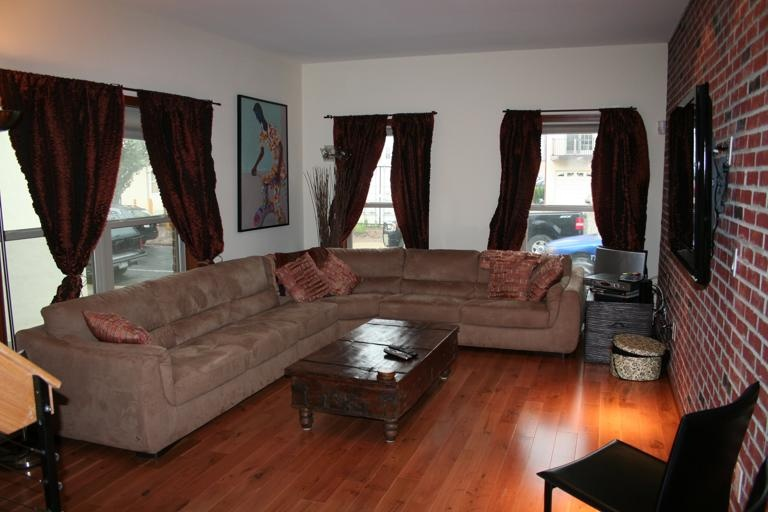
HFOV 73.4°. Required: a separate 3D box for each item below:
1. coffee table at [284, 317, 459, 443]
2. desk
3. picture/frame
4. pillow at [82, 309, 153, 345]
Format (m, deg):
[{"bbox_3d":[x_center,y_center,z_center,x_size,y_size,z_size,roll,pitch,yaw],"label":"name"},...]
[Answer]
[{"bbox_3d":[-0.056,1.006,4.430,0.885,0.556,1.398,6,14,26],"label":"coffee table"},{"bbox_3d":[2.381,0.707,5.298,0.656,0.634,0.659,0,1,14],"label":"desk"},{"bbox_3d":[-1.481,-1.148,6.517,0.890,1.574,0.028,7,13,33],"label":"picture/frame"},{"bbox_3d":[-2.068,0.543,3.954,0.469,0.248,0.264,7,15,30],"label":"pillow"}]
